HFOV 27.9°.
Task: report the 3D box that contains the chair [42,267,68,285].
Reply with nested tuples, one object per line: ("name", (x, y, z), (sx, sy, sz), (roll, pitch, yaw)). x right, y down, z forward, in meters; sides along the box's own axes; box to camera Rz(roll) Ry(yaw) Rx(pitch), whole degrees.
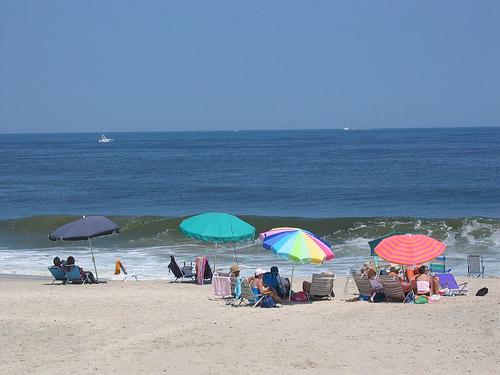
("chair", (-7.335, 3.368, 38.542), (0.626, 0.502, 0.819), (0, -1, 5))

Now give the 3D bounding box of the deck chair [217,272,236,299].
("deck chair", (-0.882, 3.478, 35.821), (0.923, 0.905, 0.718), (0, 0, -4))

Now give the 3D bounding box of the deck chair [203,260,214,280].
("deck chair", (-1.655, 3.174, 39.024), (0.580, 0.882, 0.689), (0, 1, -4))

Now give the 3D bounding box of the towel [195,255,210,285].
("towel", (-1.914, 3.187, 38.618), (0.447, 1.030, 0.366), (-4, -1, 9))

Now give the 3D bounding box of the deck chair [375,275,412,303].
("deck chair", (4.954, 3.457, 34.777), (0.710, 0.983, 1.051), (2, -3, 33))

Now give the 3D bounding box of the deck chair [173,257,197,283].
("deck chair", (-2.637, 3.313, 40.265), (1.023, 1.320, 0.973), (0, -1, -3))

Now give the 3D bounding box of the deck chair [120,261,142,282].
("deck chair", (-4.820, 3.367, 40.389), (0.787, 1.029, 0.749), (-1, 1, -3))

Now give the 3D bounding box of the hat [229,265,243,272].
("hat", (-0.553, 2.913, 36.156), (0.344, 0.256, 0.642), (-4, -1, 3))

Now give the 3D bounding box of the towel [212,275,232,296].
("towel", (-1.018, 3.457, 35.460), (0.681, 0.642, 0.180), (3, 7, 19))

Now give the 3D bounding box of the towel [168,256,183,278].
("towel", (-3.081, 3.009, 39.087), (0.695, 0.843, 0.635), (-9, 24, -26))

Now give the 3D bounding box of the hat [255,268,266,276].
("hat", (0.345, 2.923, 34.995), (0.365, 0.247, 0.604), (-3, -1, 0))

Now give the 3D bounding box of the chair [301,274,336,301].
("chair", (2.518, 3.549, 36.009), (0.941, 1.049, 1.626), (4, -1, 3))

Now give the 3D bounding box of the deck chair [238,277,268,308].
("deck chair", (-0.014, 3.596, 34.716), (0.840, 0.953, 0.358), (-4, -1, 19))

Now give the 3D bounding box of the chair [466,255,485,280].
("chair", (8.961, 3.293, 39.911), (0.674, 1.178, 0.813), (1, 3, 4))

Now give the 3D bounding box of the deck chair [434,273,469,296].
("deck chair", (7.230, 3.445, 36.229), (0.616, 0.777, 1.145), (-1, -10, -7))

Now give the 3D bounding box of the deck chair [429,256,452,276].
("deck chair", (7.091, 2.888, 37.722), (0.753, 0.686, 3.020), (-4, -1, 10))

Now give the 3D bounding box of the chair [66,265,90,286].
("chair", (-6.598, 3.264, 38.260), (0.565, 0.708, 0.780), (1, 6, 6))

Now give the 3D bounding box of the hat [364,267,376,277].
("hat", (4.256, 2.996, 35.674), (0.411, 0.315, 0.771), (-4, -1, 6))
